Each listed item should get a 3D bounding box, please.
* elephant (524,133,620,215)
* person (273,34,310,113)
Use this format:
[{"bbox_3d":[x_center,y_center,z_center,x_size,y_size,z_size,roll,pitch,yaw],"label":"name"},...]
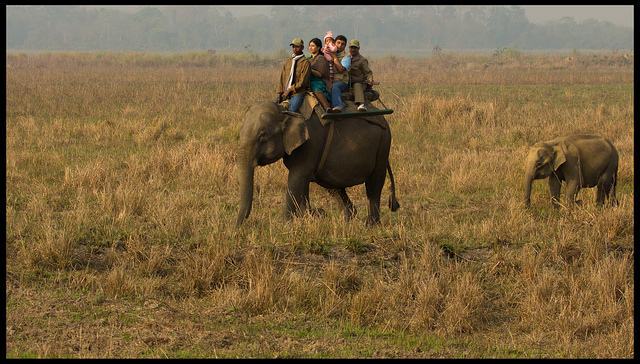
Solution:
[{"bbox_3d":[8.085,-0.243,26.926,3.383,2.670,1.433,-6,10,-10],"label":"elephant"},{"bbox_3d":[-0.825,-3.235,25.471,0.990,2.284,1.271,1,3,-4],"label":"person"}]
